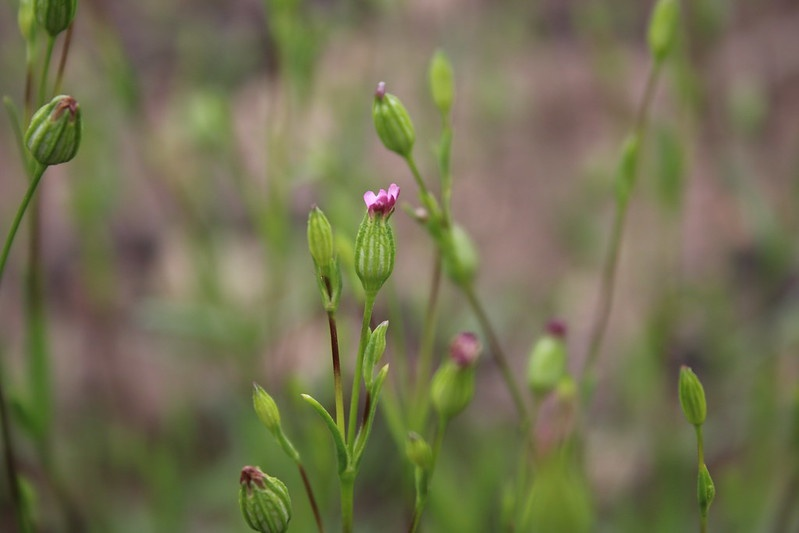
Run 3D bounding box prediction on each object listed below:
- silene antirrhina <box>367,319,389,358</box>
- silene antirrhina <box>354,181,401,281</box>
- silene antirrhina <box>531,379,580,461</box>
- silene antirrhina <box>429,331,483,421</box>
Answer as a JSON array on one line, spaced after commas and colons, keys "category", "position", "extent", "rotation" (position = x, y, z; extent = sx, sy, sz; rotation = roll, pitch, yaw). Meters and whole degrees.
[{"category": "silene antirrhina", "position": [-0.021, 0.070, 0.893], "extent": [0.011, 0.046, 0.015], "rotation": [9, 31, 4]}, {"category": "silene antirrhina", "position": [-0.023, -0.028, 0.848], "extent": [0.038, 0.056, 0.075], "rotation": [5, 60, 4]}, {"category": "silene antirrhina", "position": [0.160, 0.158, 0.966], "extent": [0.066, 0.030, 0.041], "rotation": [-35, 66, -16]}, {"category": "silene antirrhina", "position": [0.051, 0.103, 0.873], "extent": [0.039, 0.058, 0.060], "rotation": [6, 59, 5]}]
